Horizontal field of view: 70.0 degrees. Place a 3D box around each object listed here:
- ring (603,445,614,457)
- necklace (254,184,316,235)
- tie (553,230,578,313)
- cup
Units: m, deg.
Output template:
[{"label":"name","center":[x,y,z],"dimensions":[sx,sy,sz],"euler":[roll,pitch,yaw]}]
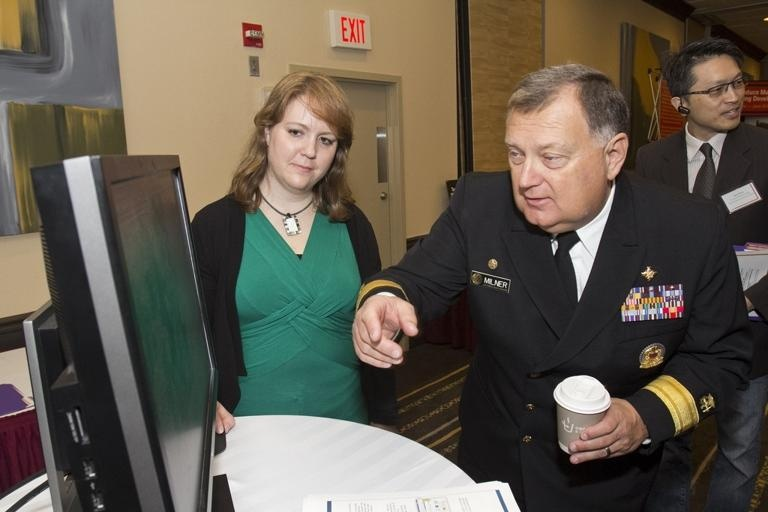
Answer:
[{"label":"ring","center":[0.624,0.544,1.535],"dimensions":[0.021,0.040,0.033],"euler":[0,-3,12]},{"label":"necklace","center":[-0.427,-0.193,2.295],"dimensions":[0.191,0.258,0.032],"euler":[-2,-30,-32]},{"label":"tie","center":[0.597,0.040,1.793],"dimensions":[0.053,0.292,0.039],"euler":[-2,-16,12]},{"label":"cup","center":[0.533,0.435,1.488],"dimensions":[0.134,0.200,0.089],"euler":[-5,12,-17]}]
